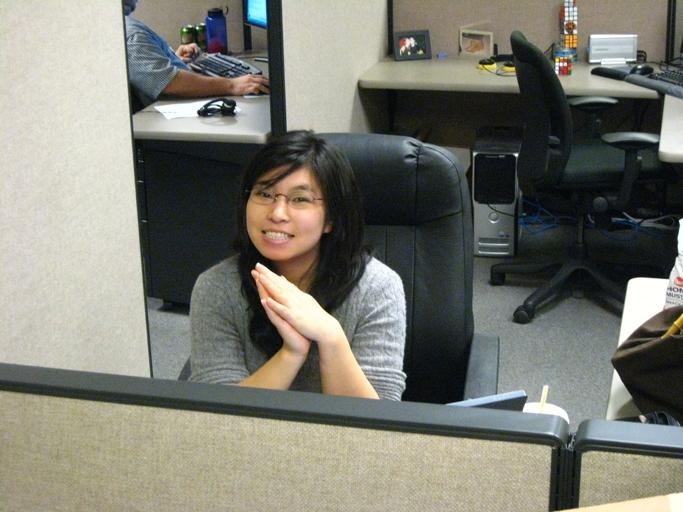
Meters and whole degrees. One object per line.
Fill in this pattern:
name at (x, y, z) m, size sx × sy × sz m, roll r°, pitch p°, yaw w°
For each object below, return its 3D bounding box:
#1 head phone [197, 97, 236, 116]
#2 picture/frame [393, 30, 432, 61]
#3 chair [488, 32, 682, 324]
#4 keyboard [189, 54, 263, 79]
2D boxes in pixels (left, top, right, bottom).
head phone at (-0.500, -0.616, 2.474) m, size 0.137 × 0.064 × 0.095 m, roll -4°, pitch 25°, yaw -12°
picture/frame at (0.419, -1.244, 3.638) m, size 0.211 × 0.169 × 0.020 m, roll 0°, pitch 1°, yaw -5°
chair at (1.093, -0.390, 2.771) m, size 0.775 × 1.138 × 0.853 m, roll -4°, pitch 13°, yaw -5°
keyboard at (-0.574, -0.937, 3.058) m, size 0.370 × 0.085 × 0.216 m, roll 18°, pitch 35°, yaw 21°
